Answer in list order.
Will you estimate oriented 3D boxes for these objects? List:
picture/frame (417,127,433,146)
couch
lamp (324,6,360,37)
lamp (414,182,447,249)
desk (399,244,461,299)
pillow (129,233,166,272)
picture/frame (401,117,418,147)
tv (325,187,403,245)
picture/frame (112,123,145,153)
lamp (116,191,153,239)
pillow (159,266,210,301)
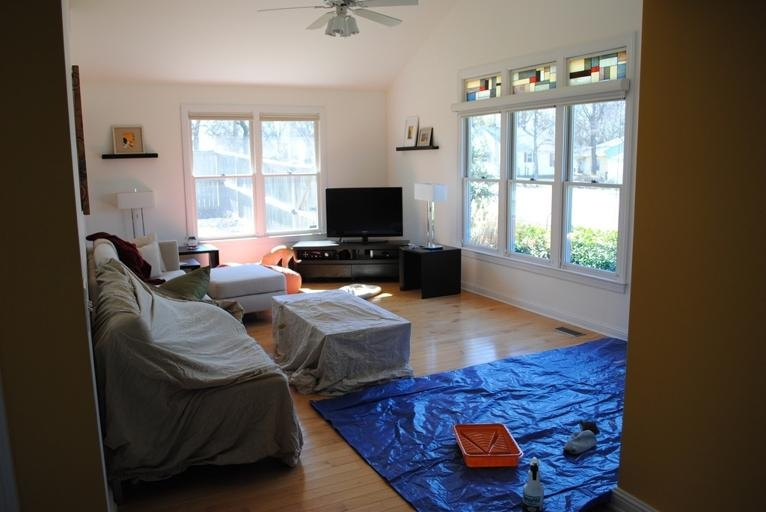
[{"bbox_3d":[0.616,-1.759,7.949,0.031,0.304,0.265,-4,15,-35],"label":"picture/frame"},{"bbox_3d":[-1.457,0.826,3.948,1.166,1.137,1.533,-10,16,-28],"label":"couch"},{"bbox_3d":[-0.413,-2.335,5.358,0.281,0.272,0.384,-6,15,-16],"label":"lamp"},{"bbox_3d":[0.658,-0.564,7.591,0.390,0.973,0.980,-1,14,4],"label":"lamp"},{"bbox_3d":[0.656,0.199,7.457,0.700,0.659,0.619,-8,15,-22],"label":"desk"},{"bbox_3d":[-2.752,-0.001,6.425,0.135,0.440,0.457,-17,12,5],"label":"pillow"},{"bbox_3d":[0.412,-1.899,8.232,0.055,0.566,0.407,-2,16,-30],"label":"picture/frame"},{"bbox_3d":[-0.294,-0.622,8.211,0.888,0.630,0.251,0,11,0],"label":"tv"},{"bbox_3d":[-3.553,-1.626,7.443,0.391,0.429,0.048,-7,16,-27],"label":"picture/frame"},{"bbox_3d":[-3.395,-0.559,7.433,0.462,0.656,0.487,-9,16,-25],"label":"lamp"},{"bbox_3d":[-1.917,0.282,5.221,0.379,0.114,0.354,0,32,17],"label":"pillow"}]
